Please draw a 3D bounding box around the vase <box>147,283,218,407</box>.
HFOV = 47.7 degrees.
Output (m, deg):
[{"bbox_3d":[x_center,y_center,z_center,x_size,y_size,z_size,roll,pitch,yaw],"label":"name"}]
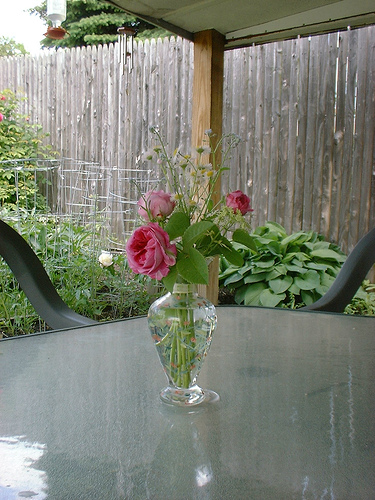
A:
[{"bbox_3d":[-0.006,0.106,0.545,0.082,0.161,0.075,1,2,-4],"label":"vase"}]
